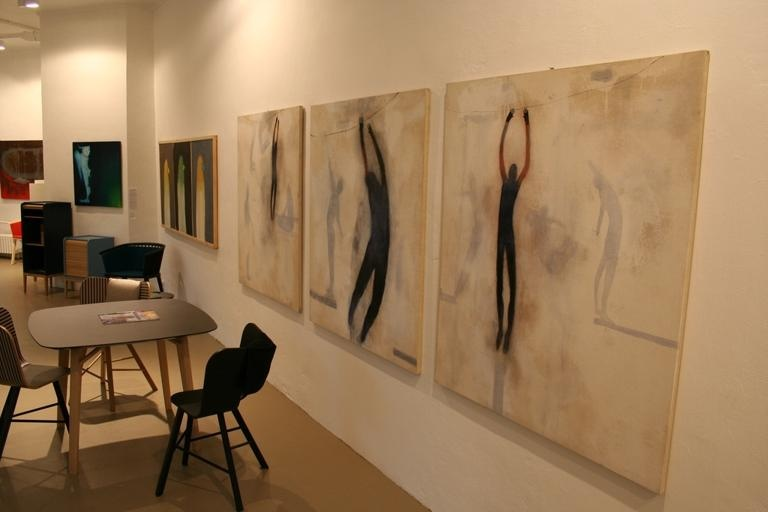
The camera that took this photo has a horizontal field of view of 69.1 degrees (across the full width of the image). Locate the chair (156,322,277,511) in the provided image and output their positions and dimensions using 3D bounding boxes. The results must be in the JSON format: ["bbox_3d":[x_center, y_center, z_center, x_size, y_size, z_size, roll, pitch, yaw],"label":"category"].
[{"bbox_3d":[-1.357,1.225,4.422,0.942,1.293,1.053,-10,13,-38],"label":"chair"}]

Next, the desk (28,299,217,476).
[{"bbox_3d":[-2.226,1.015,5.226,1.318,1.028,1.162,7,6,-19],"label":"desk"}]

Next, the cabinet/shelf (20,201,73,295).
[{"bbox_3d":[-5.718,-0.155,9.498,0.964,1.526,0.590,1,11,17],"label":"cabinet/shelf"}]

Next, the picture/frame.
[{"bbox_3d":[-2.779,-0.931,7.982,0.190,1.437,2.320,-9,13,-35],"label":"picture/frame"}]

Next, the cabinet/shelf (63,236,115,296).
[{"bbox_3d":[-4.881,0.202,9.275,0.745,0.970,0.745,-1,8,-31],"label":"cabinet/shelf"}]

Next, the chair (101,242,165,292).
[{"bbox_3d":[-3.471,0.151,7.772,0.681,0.860,0.598,2,4,17],"label":"chair"}]
